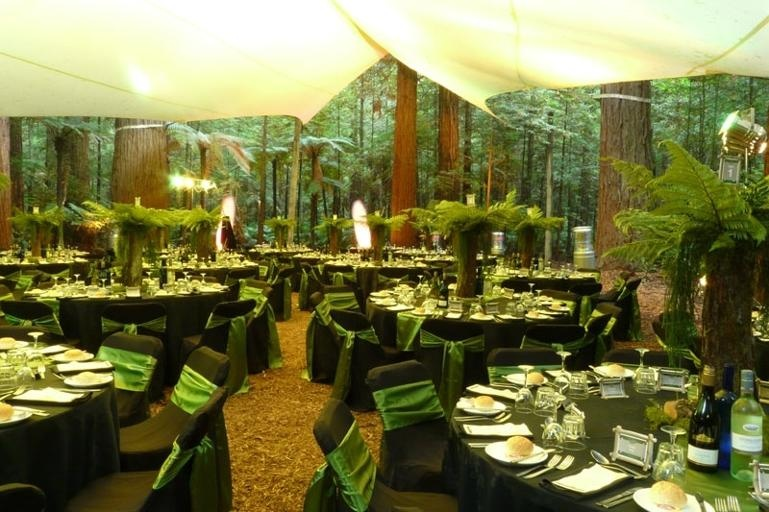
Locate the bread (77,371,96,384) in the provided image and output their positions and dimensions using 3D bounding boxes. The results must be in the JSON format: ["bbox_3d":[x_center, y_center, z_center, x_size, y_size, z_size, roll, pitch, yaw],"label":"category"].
[{"bbox_3d":[-2.073,0.856,4.210,0.082,0.045,0.082,1,1,-8],"label":"bread"}]

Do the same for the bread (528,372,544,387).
[{"bbox_3d":[1.038,0.846,4.121,0.099,0.048,0.097,1,7,11],"label":"bread"}]

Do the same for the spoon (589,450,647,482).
[{"bbox_3d":[1.261,1.146,3.357,0.088,0.074,0.455,-4,5,-23],"label":"spoon"}]

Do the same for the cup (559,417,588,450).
[{"bbox_3d":[1.115,1.043,3.530,0.166,0.155,0.167,-1,-1,0],"label":"cup"}]

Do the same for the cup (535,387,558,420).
[{"bbox_3d":[1.014,0.938,3.788,0.165,0.168,0.164,0,1,0],"label":"cup"}]

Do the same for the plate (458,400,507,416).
[{"bbox_3d":[0.633,0.977,3.887,0.326,0.048,0.187,4,11,5],"label":"plate"}]

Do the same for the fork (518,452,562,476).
[{"bbox_3d":[0.850,1.160,3.309,0.306,0.043,0.043,-13,19,-40],"label":"fork"}]

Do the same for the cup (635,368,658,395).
[{"bbox_3d":[1.818,0.878,4.183,0.146,0.176,0.073,5,-16,16],"label":"cup"}]

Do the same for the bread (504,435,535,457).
[{"bbox_3d":[0.757,1.074,3.396,0.119,0.078,0.116,-1,-4,0],"label":"bread"}]

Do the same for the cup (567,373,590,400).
[{"bbox_3d":[1.307,0.881,4.038,0.148,0.149,0.159,0,-3,0],"label":"cup"}]

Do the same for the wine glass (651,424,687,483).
[{"bbox_3d":[1.556,1.068,3.248,0.150,0.248,0.296,10,14,27],"label":"wine glass"}]

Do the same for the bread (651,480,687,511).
[{"bbox_3d":[1.430,1.213,3.025,0.137,0.079,0.138,7,4,33],"label":"bread"}]
